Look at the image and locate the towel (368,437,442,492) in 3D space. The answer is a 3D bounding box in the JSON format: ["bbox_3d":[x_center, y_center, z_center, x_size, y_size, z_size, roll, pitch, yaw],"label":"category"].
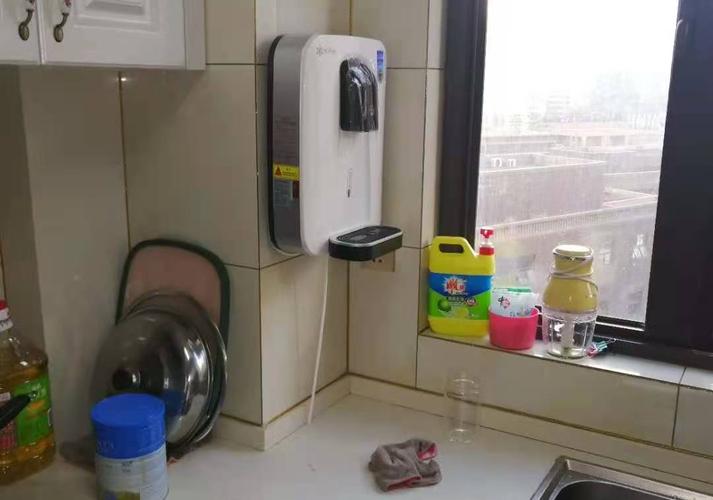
[{"bbox_3d":[0.127,0.547,1.435,0.189,0.057,0.141,-3,15,-8],"label":"towel"}]

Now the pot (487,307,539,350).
[{"bbox_3d":[0.450,0.206,1.589,0.113,0.089,0.116,-1,4,0],"label":"pot"}]

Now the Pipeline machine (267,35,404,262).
[{"bbox_3d":[-0.041,-0.285,1.507,0.166,0.575,0.390,14,25,29],"label":"Pipeline machine"}]
